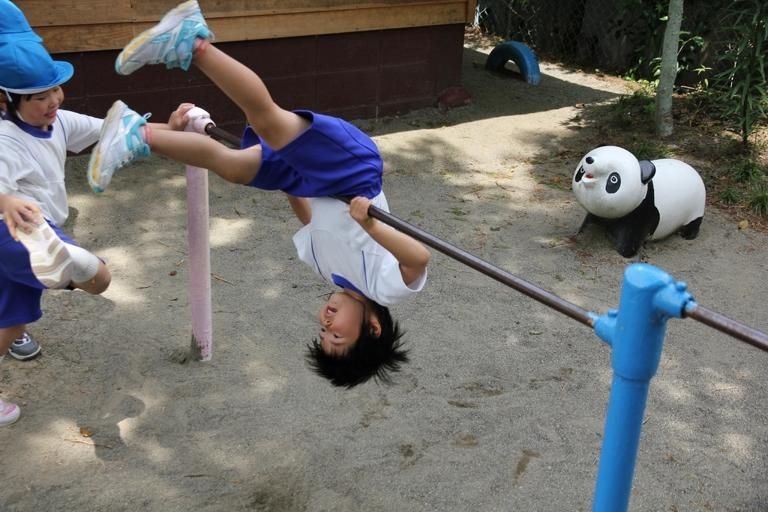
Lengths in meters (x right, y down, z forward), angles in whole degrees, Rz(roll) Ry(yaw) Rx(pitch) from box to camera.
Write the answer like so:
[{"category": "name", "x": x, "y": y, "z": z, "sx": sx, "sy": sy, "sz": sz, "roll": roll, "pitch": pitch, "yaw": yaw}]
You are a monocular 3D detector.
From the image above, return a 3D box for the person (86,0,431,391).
[{"category": "person", "x": -0.422, "y": -0.297, "z": 3.706, "sx": 0.770, "sy": 2.336, "sz": 1.399, "roll": -45, "pitch": 32, "yaw": 1}]

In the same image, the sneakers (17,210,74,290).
[{"category": "sneakers", "x": -1.746, "y": -0.034, "z": 3.938, "sx": 0.174, "sy": 0.383, "sz": 0.248, "roll": -28, "pitch": 6, "yaw": 14}]

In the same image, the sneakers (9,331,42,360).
[{"category": "sneakers", "x": -2.303, "y": 0.577, "z": 4.726, "sx": 0.285, "sy": 0.097, "sz": 0.112, "roll": 3, "pitch": 17, "yaw": 45}]
